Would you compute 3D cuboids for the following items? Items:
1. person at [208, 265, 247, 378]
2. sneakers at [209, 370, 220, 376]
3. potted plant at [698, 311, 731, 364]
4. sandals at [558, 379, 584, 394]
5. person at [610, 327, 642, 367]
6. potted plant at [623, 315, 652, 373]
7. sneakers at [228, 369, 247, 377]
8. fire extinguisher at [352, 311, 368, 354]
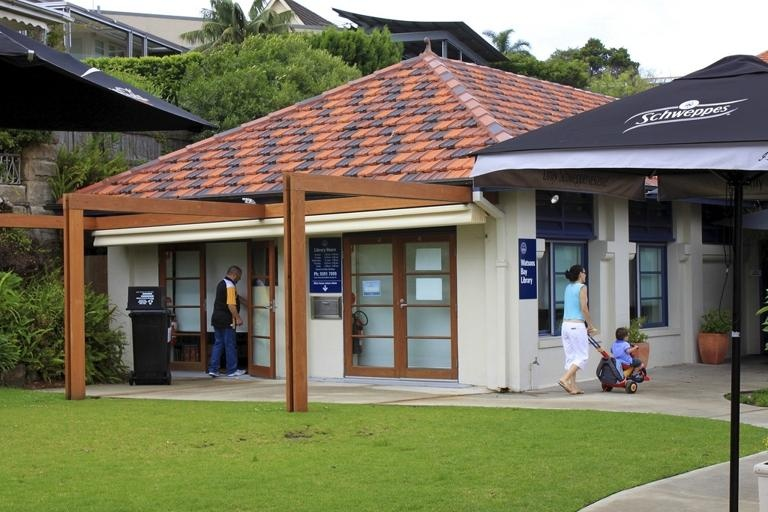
[{"bbox_3d":[-3.265,1.322,19.590,0.711,2.339,0.908,0,-4,-10],"label":"person"},{"bbox_3d":[-3.507,2.440,19.780,0.262,0.097,0.117,-7,-1,-28],"label":"sneakers"},{"bbox_3d":[7.182,1.688,21.100,0.809,1.109,0.814,3,6,40],"label":"potted plant"},{"bbox_3d":[3.252,2.322,16.739,0.595,0.235,0.177,4,-4,-41],"label":"sandals"},{"bbox_3d":[4.331,1.721,16.924,0.503,0.822,0.459,3,-8,-18],"label":"person"},{"bbox_3d":[5.131,1.884,19.459,0.651,1.179,0.581,-3,-3,28],"label":"potted plant"},{"bbox_3d":[-3.097,2.449,19.856,0.313,0.147,0.132,-8,9,-22],"label":"sneakers"},{"bbox_3d":[-0.483,1.486,18.615,0.319,0.862,0.121,-1,-4,7],"label":"fire extinguisher"}]
